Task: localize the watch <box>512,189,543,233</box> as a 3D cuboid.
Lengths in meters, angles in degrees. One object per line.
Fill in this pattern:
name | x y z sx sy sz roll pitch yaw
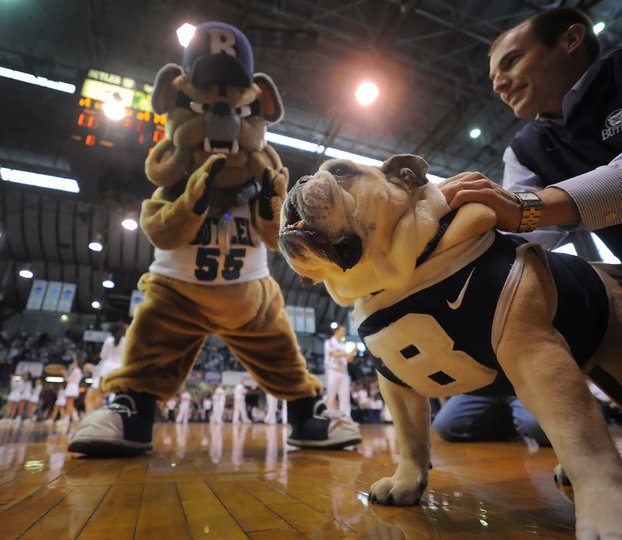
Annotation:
watch | 0.601 -0.166 1.260 0.066 0.114 0.104 3 -21 0
